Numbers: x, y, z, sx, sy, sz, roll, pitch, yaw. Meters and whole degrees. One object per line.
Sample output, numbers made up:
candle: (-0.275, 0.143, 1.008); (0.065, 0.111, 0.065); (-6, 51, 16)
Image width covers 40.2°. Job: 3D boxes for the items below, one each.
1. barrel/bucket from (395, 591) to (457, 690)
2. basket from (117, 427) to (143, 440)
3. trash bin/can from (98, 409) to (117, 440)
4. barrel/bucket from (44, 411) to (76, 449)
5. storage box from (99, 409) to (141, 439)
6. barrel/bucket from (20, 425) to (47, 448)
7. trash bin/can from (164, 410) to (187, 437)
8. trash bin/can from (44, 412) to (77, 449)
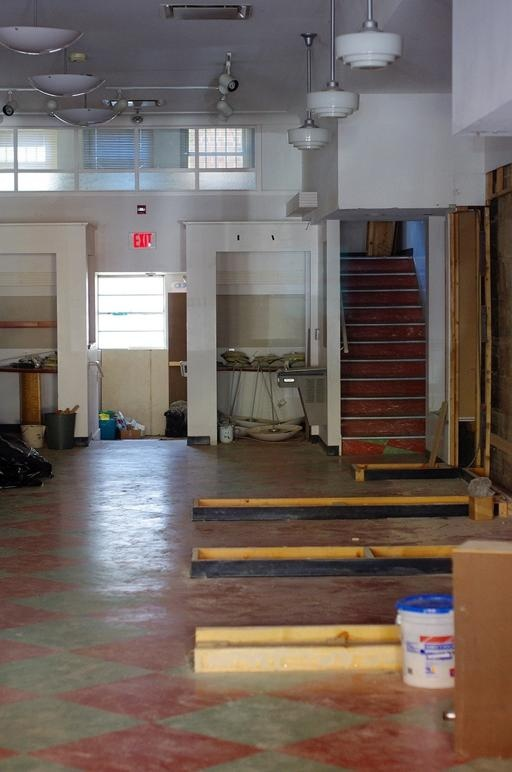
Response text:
barrel/bucket: (0.690, 1.069, 2.872); (0.230, 0.400, 0.183); (3, 6, 20)
basket: (-2.142, 0.810, 11.840); (0.373, 0.155, 0.289); (-1, 6, -16)
trash bin/can: (-2.471, 0.674, 11.911); (0.386, 0.437, 0.625); (-1, 3, -3)
barrel/bucket: (-2.933, 0.665, 10.464); (0.550, 0.602, 0.542); (-1, -3, 0)
storage box: (-2.368, 0.656, 11.963); (0.551, 0.319, 0.534); (1, -2, -3)
barrel/bucket: (-3.423, 0.772, 10.721); (0.364, 0.346, 0.330); (2, -3, -2)
trash bin/can: (-1.346, 0.629, 11.981); (0.449, 0.477, 0.438); (0, 5, 0)
trash bin/can: (-3.026, 0.668, 10.535); (0.542, 0.599, 0.541); (-4, -5, 37)
